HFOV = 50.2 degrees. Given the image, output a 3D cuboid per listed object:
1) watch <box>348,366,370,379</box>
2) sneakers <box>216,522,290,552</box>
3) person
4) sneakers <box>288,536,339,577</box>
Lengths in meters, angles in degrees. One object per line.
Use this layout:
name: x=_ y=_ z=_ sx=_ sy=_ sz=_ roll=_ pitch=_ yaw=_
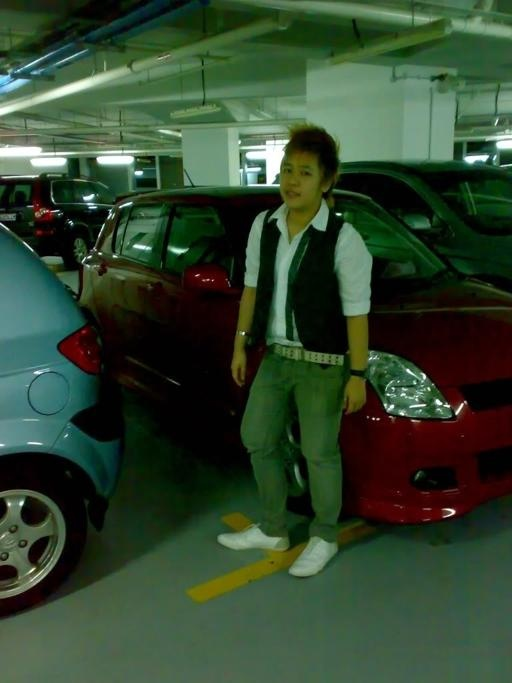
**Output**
watch: x=0.323 y=0.094 z=1.661 sx=0.041 sy=0.020 sz=0.042 roll=-9 pitch=14 yaw=-44
sneakers: x=-0.013 y=0.737 z=2.064 sx=0.274 sy=0.093 sz=0.095 roll=2 pitch=2 yaw=11
person: x=0.119 y=0.056 z=1.837 sx=0.561 sy=1.480 sz=0.209 roll=6 pitch=13 yaw=40
sneakers: x=0.206 y=0.717 z=1.903 sx=0.081 sy=0.088 sz=0.224 roll=7 pitch=15 yaw=43
